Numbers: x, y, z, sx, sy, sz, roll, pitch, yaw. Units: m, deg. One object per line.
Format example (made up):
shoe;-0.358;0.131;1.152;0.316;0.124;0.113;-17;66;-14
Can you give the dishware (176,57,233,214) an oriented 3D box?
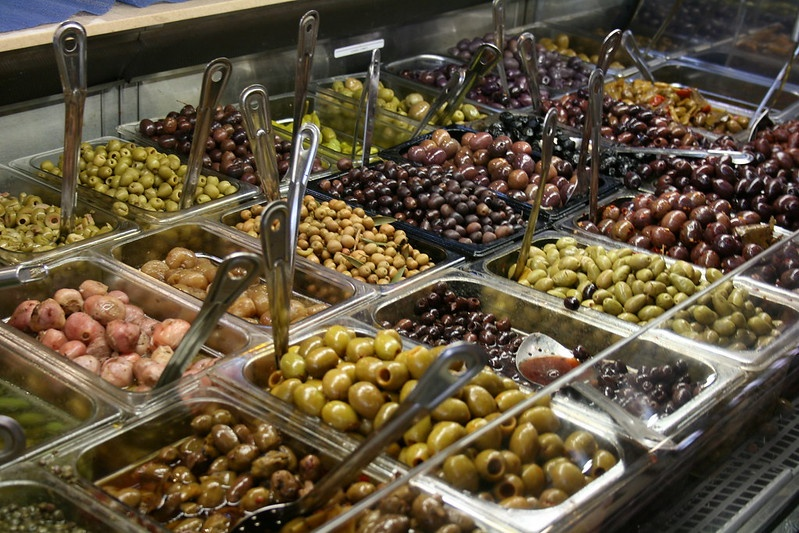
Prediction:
dishware;-0.770;-0.536;2.732;0.259;0.656;0.192;-6;43;-12

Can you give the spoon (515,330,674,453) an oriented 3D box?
spoon;0.482;0.359;1.946;0.509;0.076;0.158;41;38;22
